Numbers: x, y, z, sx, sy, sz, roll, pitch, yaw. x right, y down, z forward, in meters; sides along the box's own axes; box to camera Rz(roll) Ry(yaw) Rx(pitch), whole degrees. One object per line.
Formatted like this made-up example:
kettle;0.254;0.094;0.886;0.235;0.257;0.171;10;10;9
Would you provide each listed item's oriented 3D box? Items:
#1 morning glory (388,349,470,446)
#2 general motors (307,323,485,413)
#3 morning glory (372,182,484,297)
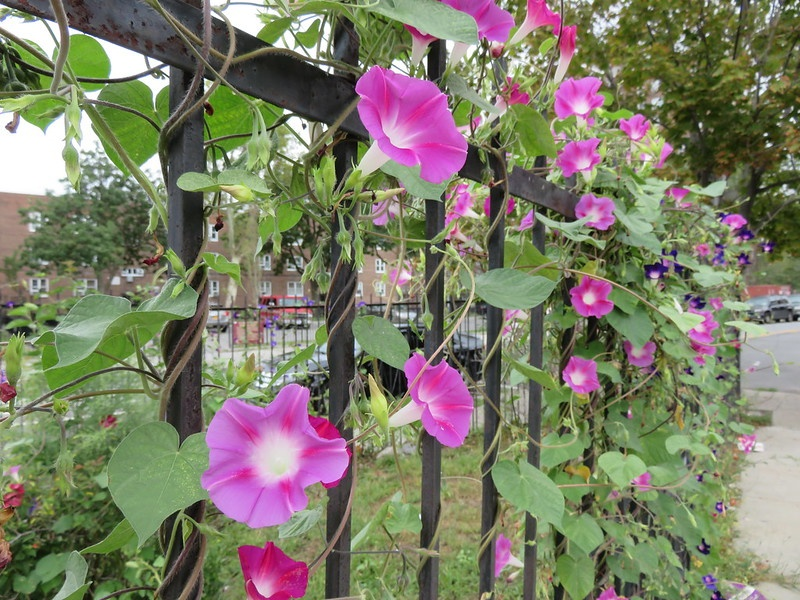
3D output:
morning glory;0.090;0.323;2.020;0.234;0.274;0.261;-4;-21;1
general motors;-0.121;0.603;6.104;1.766;1.126;1.176;-2;-10;5
morning glory;0.165;-0.292;2.565;0.385;0.493;0.154;13;-4;4
